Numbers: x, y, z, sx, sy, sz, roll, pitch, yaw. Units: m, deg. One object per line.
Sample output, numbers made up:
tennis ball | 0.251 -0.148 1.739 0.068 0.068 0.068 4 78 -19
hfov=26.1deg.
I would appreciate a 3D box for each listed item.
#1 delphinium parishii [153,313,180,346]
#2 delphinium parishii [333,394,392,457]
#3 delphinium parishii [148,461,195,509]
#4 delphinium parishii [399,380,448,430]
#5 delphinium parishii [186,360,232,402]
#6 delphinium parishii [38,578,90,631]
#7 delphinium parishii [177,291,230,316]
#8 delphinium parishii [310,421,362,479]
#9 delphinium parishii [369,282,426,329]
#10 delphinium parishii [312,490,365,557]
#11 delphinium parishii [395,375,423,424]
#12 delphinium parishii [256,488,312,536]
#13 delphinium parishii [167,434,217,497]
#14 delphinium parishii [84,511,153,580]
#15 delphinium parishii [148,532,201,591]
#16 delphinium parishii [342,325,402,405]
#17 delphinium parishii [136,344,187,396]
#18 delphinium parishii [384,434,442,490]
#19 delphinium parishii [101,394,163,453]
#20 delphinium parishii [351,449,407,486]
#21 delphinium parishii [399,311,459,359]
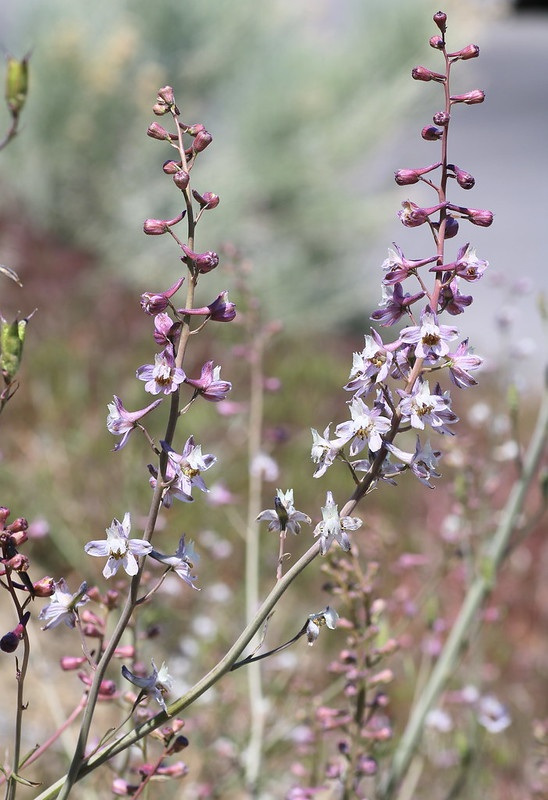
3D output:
delphinium parishii | -0.224 -0.148 2.516 0.066 0.067 0.063 -2 -102 -2
delphinium parishii | 0.181 0.058 2.487 0.109 0.061 0.124 8 -61 20
delphinium parishii | -0.218 0.181 2.505 0.102 0.051 0.091 1 -112 -2
delphinium parishii | 0.313 0.014 2.427 0.107 0.052 0.097 -4 -77 -5
delphinium parishii | -0.140 -0.038 2.534 0.120 0.061 0.063 5 -110 -4
delphinium parishii | -0.428 0.426 2.496 0.103 0.091 0.042 -10 -81 5
delphinium parishii | -0.149 -0.201 2.490 0.099 0.052 0.035 -6 -84 -18
delphinium parishii | 0.124 0.116 2.579 0.081 0.110 0.116 27 -40 -11
delphinium parishii | 0.259 -0.203 2.544 0.124 0.073 0.104 -10 -87 16
delphinium parishii | 0.126 0.247 2.457 0.110 0.153 0.073 -18 -54 3
delphinium parishii | 0.283 0.007 2.473 0.044 0.088 0.081 1 -59 29
delphinium parishii | 0.017 0.247 2.592 0.122 0.123 0.098 -1 -93 42
delphinium parishii | -0.172 0.114 2.474 0.123 0.090 0.049 -1 -72 -7
delphinium parishii | -0.332 0.304 2.488 0.145 0.143 0.093 -3 -79 19
delphinium parishii | -0.200 0.339 2.494 0.151 0.105 0.069 12 -98 -3
delphinium parishii | 0.204 -0.075 2.506 0.070 0.123 0.148 7 -26 -44
delphinium parishii | -0.198 -0.067 2.477 0.117 0.132 0.095 0 -84 2
delphinium parishii | 0.291 0.124 2.507 0.172 0.120 0.082 -5 -81 -40
delphinium parishii | -0.277 0.041 2.496 0.166 0.102 0.090 -9 -95 27
delphinium parishii | 0.222 0.157 2.544 0.089 0.080 0.040 23 -44 3
delphinium parishii | 0.326 -0.134 2.493 0.117 0.053 0.095 13 -87 5
